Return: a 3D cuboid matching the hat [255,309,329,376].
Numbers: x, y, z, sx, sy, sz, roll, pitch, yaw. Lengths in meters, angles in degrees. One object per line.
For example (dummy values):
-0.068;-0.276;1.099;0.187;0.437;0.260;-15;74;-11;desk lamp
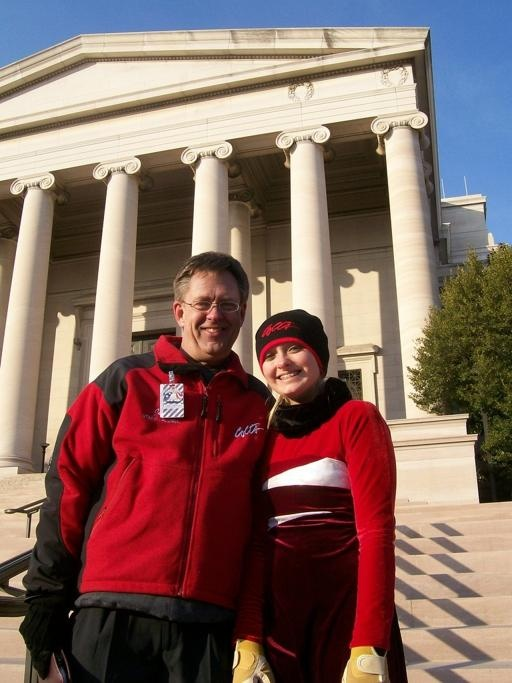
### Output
0.188;0.010;2.772;0.257;0.254;0.332;-8;-35;28;hat
